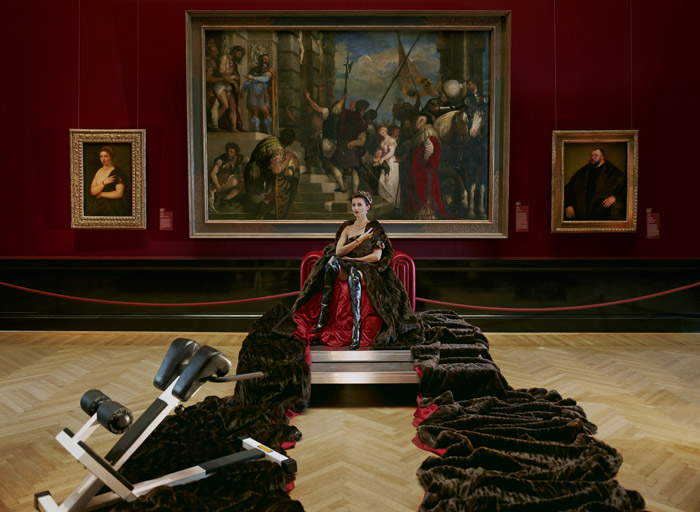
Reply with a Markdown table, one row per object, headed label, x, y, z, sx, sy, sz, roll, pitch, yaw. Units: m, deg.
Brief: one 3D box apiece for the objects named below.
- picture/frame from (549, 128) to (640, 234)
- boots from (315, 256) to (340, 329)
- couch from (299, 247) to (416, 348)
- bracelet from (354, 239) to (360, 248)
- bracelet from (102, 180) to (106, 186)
| label | x | y | z | sx | sy | sz | roll | pitch | yaw |
| --- | --- | --- | --- | --- | --- | --- | --- | --- | --- |
| picture/frame | 3.420 | -1.057 | 9.130 | 1.290 | 1.716 | 0.129 | 0 | 0 | 1 |
| boots | -0.241 | 0.390 | 7.419 | 0.211 | 0.874 | 0.264 | 5 | -1 | 8 |
| couch | 0.036 | 0.331 | 8.598 | 1.157 | 1.117 | 1.678 | 6 | -12 | -9 |
| bracelet | 0.072 | -0.144 | 7.569 | 0.073 | 0.080 | 0.020 | -12 | -14 | -9 |
| bracelet | -3.473 | -1.019 | 9.137 | 0.047 | 0.062 | 0.022 | 1 | -2 | -5 |
